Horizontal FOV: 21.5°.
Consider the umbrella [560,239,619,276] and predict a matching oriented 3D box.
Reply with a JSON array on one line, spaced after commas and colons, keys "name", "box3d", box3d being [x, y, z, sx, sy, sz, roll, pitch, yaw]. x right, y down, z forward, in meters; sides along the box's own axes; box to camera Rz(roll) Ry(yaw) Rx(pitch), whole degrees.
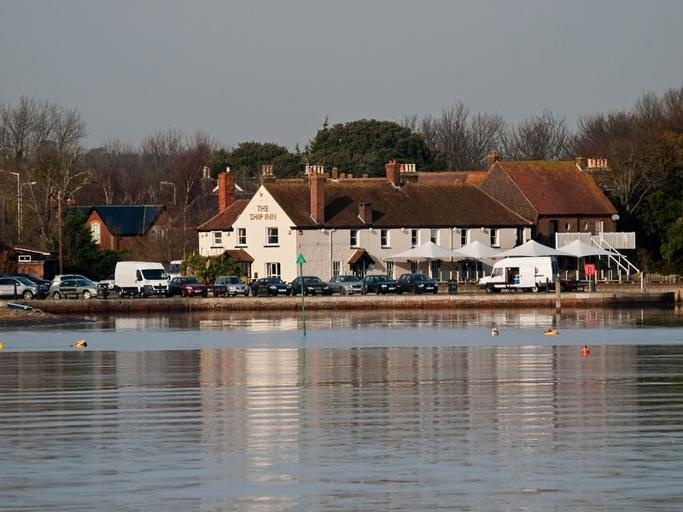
[{"name": "umbrella", "box3d": [16.650, 0.112, 122.929, 2.801, 1.499, 3.389, 2, 8, 9]}]

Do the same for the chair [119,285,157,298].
[{"name": "chair", "box3d": [-13.162, 2.626, 115.676, 1.031, 0.481, 2.082, 1, -2, -41]}]

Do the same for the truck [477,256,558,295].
[{"name": "truck", "box3d": [11.751, 1.529, 116.069, 5.778, 2.237, 1.013, -5, -6, 42]}]

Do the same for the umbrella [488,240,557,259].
[{"name": "umbrella", "box3d": [12.742, -0.073, 120.589, 2.693, 1.330, 4.533, 2, -6, -38]}]
